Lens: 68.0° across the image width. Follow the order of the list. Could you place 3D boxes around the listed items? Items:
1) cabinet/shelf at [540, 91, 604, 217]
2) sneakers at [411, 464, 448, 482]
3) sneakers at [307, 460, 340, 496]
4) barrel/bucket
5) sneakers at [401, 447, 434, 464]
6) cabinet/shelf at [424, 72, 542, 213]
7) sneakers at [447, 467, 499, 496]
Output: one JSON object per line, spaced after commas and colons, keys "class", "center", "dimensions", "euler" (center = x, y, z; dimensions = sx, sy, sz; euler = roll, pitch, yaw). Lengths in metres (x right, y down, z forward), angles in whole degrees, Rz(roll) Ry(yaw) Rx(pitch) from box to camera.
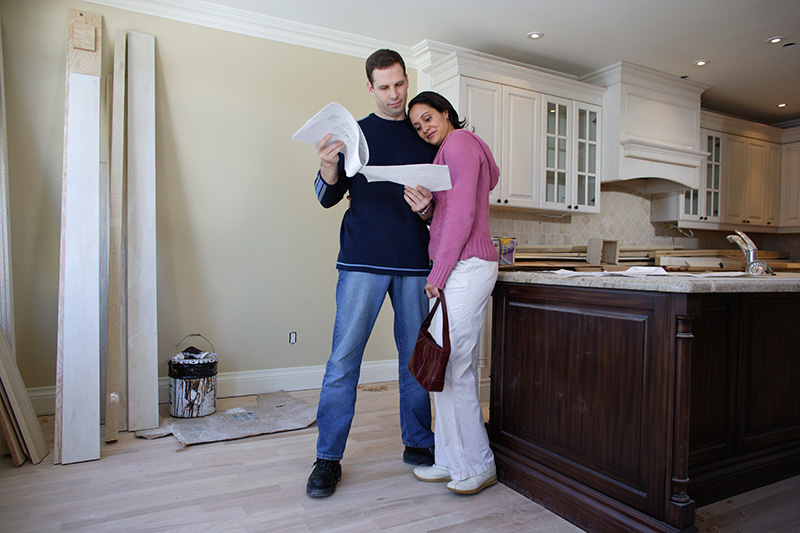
{"class": "cabinet/shelf", "center": [1.583, -1.018, 5.456], "dimensions": [0.673, 1.020, 0.198], "euler": [-5, 15, -20]}
{"class": "sneakers", "center": [0.195, 1.243, 3.558], "dimensions": [0.171, 0.071, 0.094], "euler": [4, -7, -3]}
{"class": "sneakers", "center": [-0.447, 1.221, 3.474], "dimensions": [0.155, 0.172, 0.203], "euler": [4, 15, 12]}
{"class": "barrel/bucket", "center": [-1.537, 0.836, 4.558], "dimensions": [0.468, 0.729, 0.434], "euler": [-1, -1, 0]}
{"class": "sneakers", "center": [0.111, 1.182, 3.692], "dimensions": [0.155, 0.068, 0.104], "euler": [-4, -7, 41]}
{"class": "cabinet/shelf", "center": [0.748, -1.060, 5.260], "dimensions": [1.197, 1.125, 0.478], "euler": [-3, 5, -42]}
{"class": "sneakers", "center": [0.424, 1.244, 3.470], "dimensions": [0.304, 0.130, 0.117], "euler": [1, -4, -35]}
